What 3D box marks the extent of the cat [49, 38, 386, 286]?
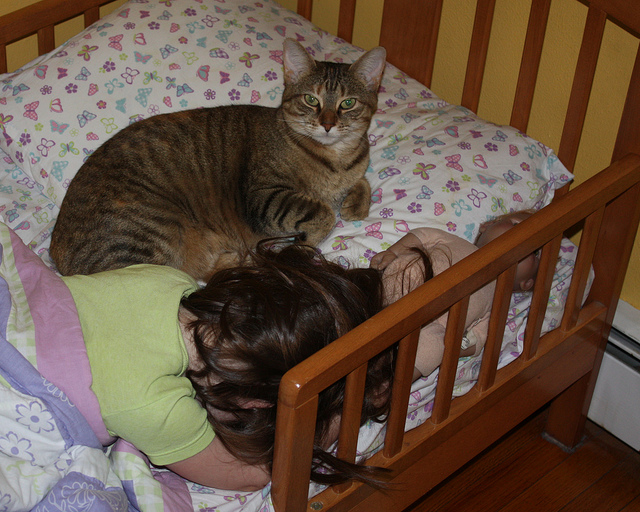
[{"bbox_3d":[-0.352,-0.290,2.070,0.852,0.733,0.760,-17,35,-14],"label":"cat"}]
